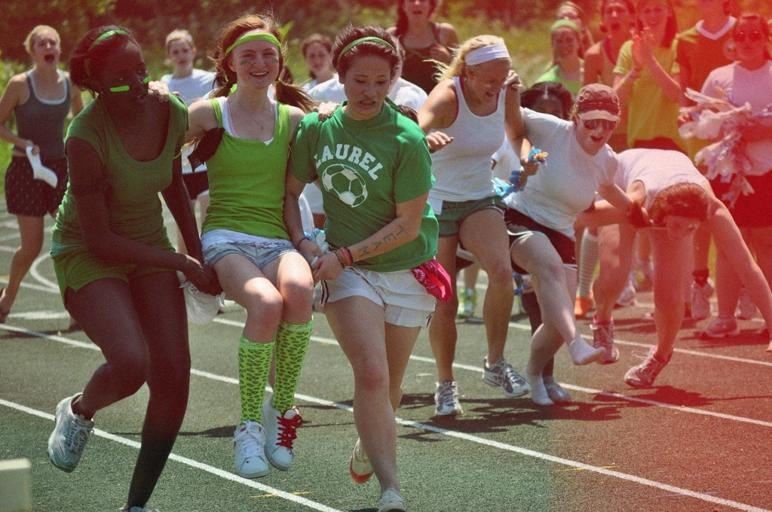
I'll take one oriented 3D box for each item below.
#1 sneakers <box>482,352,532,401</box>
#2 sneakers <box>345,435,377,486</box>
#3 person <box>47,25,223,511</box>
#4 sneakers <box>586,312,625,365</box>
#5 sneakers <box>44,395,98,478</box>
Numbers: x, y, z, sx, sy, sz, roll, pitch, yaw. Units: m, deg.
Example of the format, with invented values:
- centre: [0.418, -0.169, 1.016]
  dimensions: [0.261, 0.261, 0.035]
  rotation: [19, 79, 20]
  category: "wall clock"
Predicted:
- centre: [1.009, 0.982, 6.435]
  dimensions: [0.472, 0.207, 0.203]
  rotation: [26, 33, 34]
  category: "sneakers"
- centre: [-0.158, 1.282, 4.742]
  dimensions: [0.135, 0.152, 0.385]
  rotation: [4, 33, -4]
  category: "sneakers"
- centre: [-1.455, 0.152, 4.375]
  dimensions: [0.942, 2.835, 0.667]
  rotation: [-4, 11, -22]
  category: "person"
- centre: [2.031, 0.771, 7.173]
  dimensions: [0.184, 0.526, 0.236]
  rotation: [-7, -12, 16]
  category: "sneakers"
- centre: [-1.760, 1.031, 4.419]
  dimensions: [0.201, 0.249, 0.544]
  rotation: [27, 27, -36]
  category: "sneakers"
